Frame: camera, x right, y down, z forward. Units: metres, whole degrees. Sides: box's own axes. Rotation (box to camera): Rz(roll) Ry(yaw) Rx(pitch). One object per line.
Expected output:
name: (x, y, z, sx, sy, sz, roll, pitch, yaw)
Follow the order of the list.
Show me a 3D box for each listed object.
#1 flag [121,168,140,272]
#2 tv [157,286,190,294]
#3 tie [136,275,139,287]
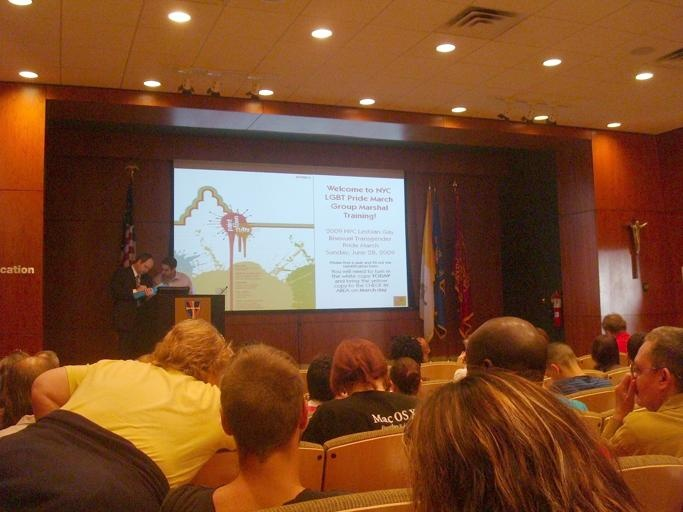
flag: (-2.875, -0.571, 7.563, 0.203, 1.424, 0.500, 1, -3, -22)
tv: (-1.360, 0.282, 4.513, 0.251, 0.049, 0.109, 2, -3, -30)
tie: (-2.578, 0.315, 7.093, 0.057, 0.127, 0.178, 1, -3, -19)
